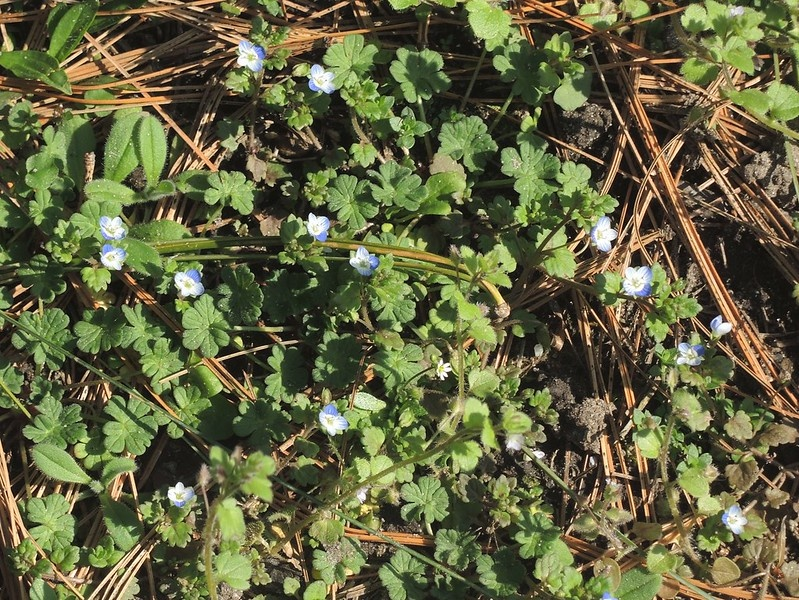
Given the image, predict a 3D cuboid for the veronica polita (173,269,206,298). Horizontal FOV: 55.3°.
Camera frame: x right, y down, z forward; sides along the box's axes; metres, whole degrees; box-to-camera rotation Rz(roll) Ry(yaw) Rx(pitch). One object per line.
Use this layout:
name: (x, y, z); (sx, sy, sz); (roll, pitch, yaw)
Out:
veronica polita: (-1.316, -0.080, 4.797); (0.154, 0.191, 0.139); (-15, 49, -30)

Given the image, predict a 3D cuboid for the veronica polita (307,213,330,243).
veronica polita: (-0.517, -0.472, 4.831); (0.137, 0.141, 0.180); (7, 42, -10)

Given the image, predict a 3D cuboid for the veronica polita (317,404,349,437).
veronica polita: (-0.393, 0.715, 4.558); (0.165, 0.115, 0.199); (2, 84, -38)

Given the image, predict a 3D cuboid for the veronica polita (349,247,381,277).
veronica polita: (-0.214, -0.230, 4.719); (0.149, 0.077, 0.186); (-9, 63, -4)

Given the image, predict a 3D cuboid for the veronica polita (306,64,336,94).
veronica polita: (-0.506, -1.451, 5.048); (0.175, 0.192, 0.221); (8, 42, -9)

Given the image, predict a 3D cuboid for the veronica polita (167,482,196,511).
veronica polita: (-1.315, 1.167, 4.610); (0.148, 0.067, 0.161); (-11, 95, -28)

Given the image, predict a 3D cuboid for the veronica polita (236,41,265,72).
veronica polita: (-0.962, -1.561, 4.974); (0.168, 0.222, 0.163); (3, 42, -14)
